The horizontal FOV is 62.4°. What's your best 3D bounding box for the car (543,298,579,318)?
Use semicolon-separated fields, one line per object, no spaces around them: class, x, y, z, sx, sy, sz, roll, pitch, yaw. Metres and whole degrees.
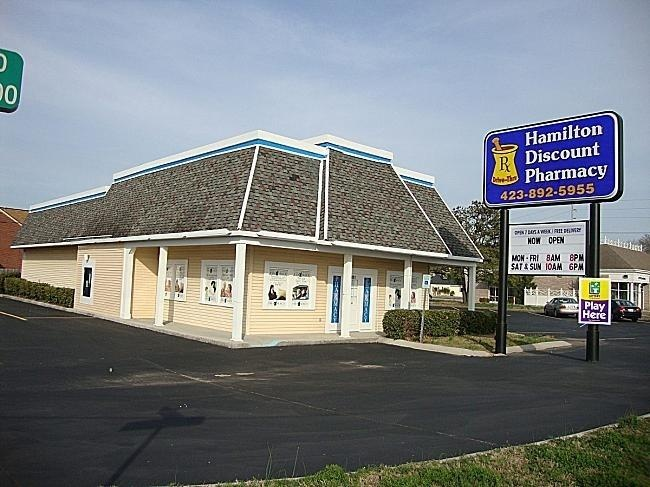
car;21.047;5.776;47.874;2.405;1.680;3.497;2;-3;15

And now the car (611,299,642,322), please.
car;25.282;5.810;46.410;1.868;1.181;3.961;-1;1;-2
